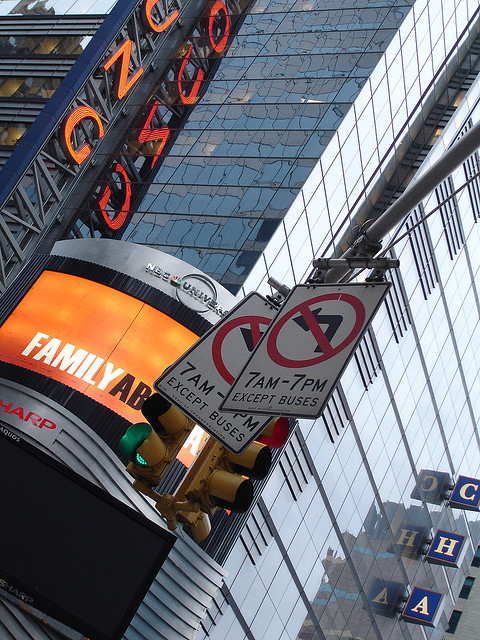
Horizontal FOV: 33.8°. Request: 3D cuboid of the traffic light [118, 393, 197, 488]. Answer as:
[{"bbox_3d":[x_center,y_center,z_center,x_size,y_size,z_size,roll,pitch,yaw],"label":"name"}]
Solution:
[{"bbox_3d":[-0.879,1.252,8.350,0.670,0.885,0.596,36,-17,1],"label":"traffic light"}]
